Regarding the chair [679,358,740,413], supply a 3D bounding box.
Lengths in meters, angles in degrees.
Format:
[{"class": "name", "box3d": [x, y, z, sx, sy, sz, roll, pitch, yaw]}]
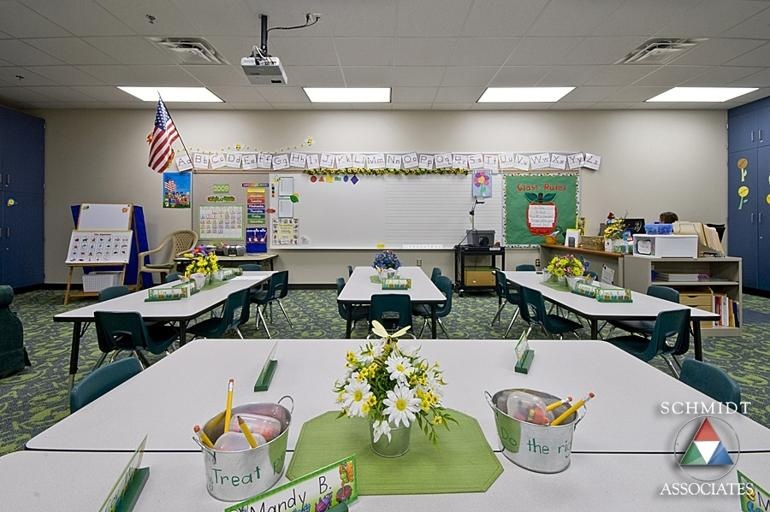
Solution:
[{"class": "chair", "box3d": [2.904, 1.144, 4.537, 0.418, 0.499, 0.363, 11, 4, -28]}]

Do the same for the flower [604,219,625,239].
[{"class": "flower", "box3d": [3.518, -0.399, 7.656, 0.260, 0.287, 0.442, 3, 8, 27]}]

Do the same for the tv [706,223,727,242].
[{"class": "tv", "box3d": [5.173, -0.359, 7.773, 0.154, 0.247, 1.333, 4, 8, 33]}]

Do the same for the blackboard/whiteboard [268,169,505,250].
[{"class": "blackboard/whiteboard", "box3d": [-0.236, -0.854, 9.752, 3.841, 1.466, 0.246, -1, 7, -3]}]

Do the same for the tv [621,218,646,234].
[{"class": "tv", "box3d": [4.109, -0.486, 8.231, 0.394, 0.393, 0.096, -7, -42, 19]}]

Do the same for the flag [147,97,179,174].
[{"class": "flag", "box3d": [-3.623, -1.981, 8.111, 0.440, 1.178, 0.825, -4, 8, -24]}]

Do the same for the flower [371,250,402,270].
[{"class": "flower", "box3d": [0.015, 0.074, 6.691, 0.299, 0.208, 0.298, 0, 5, 6]}]

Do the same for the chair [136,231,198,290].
[{"class": "chair", "box3d": [-4.385, 0.057, 9.527, 1.007, 1.408, 1.109, 0, 2, 8]}]

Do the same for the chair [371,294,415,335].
[{"class": "chair", "box3d": [0.089, 0.710, 6.234, 0.450, 0.733, 0.513, 1, 0, 3]}]

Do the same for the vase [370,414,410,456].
[{"class": "vase", "box3d": [0.048, 1.515, 4.157, 0.350, 0.219, 0.341, -7, -20, 11]}]

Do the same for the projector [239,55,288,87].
[{"class": "projector", "box3d": [-1.571, -2.419, 6.515, 0.500, 0.304, 0.450, -2, 7, -8]}]

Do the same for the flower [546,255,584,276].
[{"class": "flower", "box3d": [2.310, 0.146, 6.407, 0.316, 0.221, 0.318, 0, 5, 12]}]

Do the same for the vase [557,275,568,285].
[{"class": "vase", "box3d": [2.280, 0.321, 6.405, 0.106, 0.106, 0.107, -2, -5, 33]}]

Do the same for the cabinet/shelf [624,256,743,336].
[{"class": "cabinet/shelf", "box3d": [4.422, 0.572, 7.312, 1.169, 0.913, 0.846, -3, 2, 21]}]

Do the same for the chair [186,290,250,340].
[{"class": "chair", "box3d": [-2.022, 0.747, 6.157, 0.667, 0.867, 0.614, 3, 0, -7]}]

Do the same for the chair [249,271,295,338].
[{"class": "chair", "box3d": [-1.721, 0.660, 7.297, 0.651, 0.861, 0.604, -1, 5, 14]}]

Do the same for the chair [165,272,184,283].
[{"class": "chair", "box3d": [-2.897, 0.296, 6.875, 0.161, 0.192, 0.152, 6, 9, 39]}]

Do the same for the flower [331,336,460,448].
[{"class": "flower", "box3d": [0.071, 1.211, 4.158, 0.876, 0.754, 0.812, 3, 10, -24]}]

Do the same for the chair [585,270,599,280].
[{"class": "chair", "box3d": [2.861, 0.271, 6.911, 0.137, 0.147, 0.171, -1, -8, 13]}]

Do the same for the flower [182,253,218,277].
[{"class": "flower", "box3d": [-2.406, 0.115, 6.509, 0.302, 0.245, 0.353, 2, 8, 16]}]

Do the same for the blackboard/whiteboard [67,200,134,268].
[{"class": "blackboard/whiteboard", "box3d": [-5.100, -0.353, 8.988, 1.242, 1.374, 0.158, -1, -16, -7]}]

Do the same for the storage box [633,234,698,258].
[{"class": "storage box", "box3d": [4.000, -0.133, 7.079, 0.419, 0.260, 0.545, 1, 2, 5]}]

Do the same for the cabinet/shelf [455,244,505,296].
[{"class": "cabinet/shelf", "box3d": [1.803, 0.265, 9.516, 0.843, 0.857, 0.531, 0, -2, -4]}]

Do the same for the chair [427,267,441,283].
[{"class": "chair", "box3d": [0.760, 0.291, 7.386, 0.205, 0.314, 0.189, 0, 2, -14]}]
